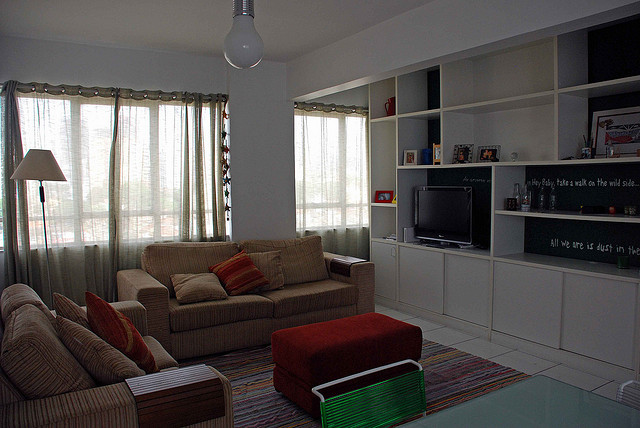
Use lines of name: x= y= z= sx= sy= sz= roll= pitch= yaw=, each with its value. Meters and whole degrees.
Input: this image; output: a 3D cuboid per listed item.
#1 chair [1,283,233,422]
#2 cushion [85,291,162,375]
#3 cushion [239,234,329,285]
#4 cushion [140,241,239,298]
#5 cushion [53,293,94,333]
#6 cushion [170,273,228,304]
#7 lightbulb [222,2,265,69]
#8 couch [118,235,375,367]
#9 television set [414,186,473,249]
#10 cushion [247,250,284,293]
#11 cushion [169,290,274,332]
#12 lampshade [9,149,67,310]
chair: x=-1.473 y=0.634 z=3.002 sx=0.983 sy=0.931 sz=1.380 roll=-3 pitch=7 yaw=-38
cushion: x=-1.525 y=0.863 z=3.377 sx=0.661 sy=0.253 sz=0.312 roll=35 pitch=20 yaw=36
cushion: x=-0.274 y=0.549 z=5.578 sx=0.980 sy=0.551 sz=0.256 roll=-9 pitch=-13 yaw=-28
cushion: x=-1.556 y=0.506 z=5.110 sx=0.737 sy=0.219 sz=0.699 roll=-5 pitch=31 yaw=-33
cushion: x=-1.854 y=0.710 z=3.392 sx=0.254 sy=0.278 sz=0.314 roll=2 pitch=5 yaw=-23
cushion: x=-1.303 y=0.759 z=4.900 sx=0.636 sy=0.244 sz=0.616 roll=-1 pitch=3 yaw=-23
lightbulb: x=-0.536 y=-1.268 z=3.159 sx=0.271 sy=0.453 sz=0.205 roll=-3 pitch=6 yaw=-9
couch: x=-0.756 y=0.912 z=5.296 sx=2.724 sy=1.142 sz=1.127 roll=-2 pitch=-2 yaw=-31
television set: x=1.546 y=0.021 z=5.579 sx=0.253 sy=0.744 sz=0.793 roll=-7 pitch=8 yaw=-43
cushion: x=-0.568 y=0.674 z=5.257 sx=0.423 sy=0.411 sz=0.125 roll=-2 pitch=-16 yaw=-21
cushion: x=-0.995 y=1.026 z=4.672 sx=1.077 sy=0.263 sz=0.151 roll=-4 pitch=6 yaw=-22
lampshade: x=-2.983 y=0.324 z=4.887 sx=0.525 sy=1.999 sz=0.536 roll=0 pitch=3 yaw=33
